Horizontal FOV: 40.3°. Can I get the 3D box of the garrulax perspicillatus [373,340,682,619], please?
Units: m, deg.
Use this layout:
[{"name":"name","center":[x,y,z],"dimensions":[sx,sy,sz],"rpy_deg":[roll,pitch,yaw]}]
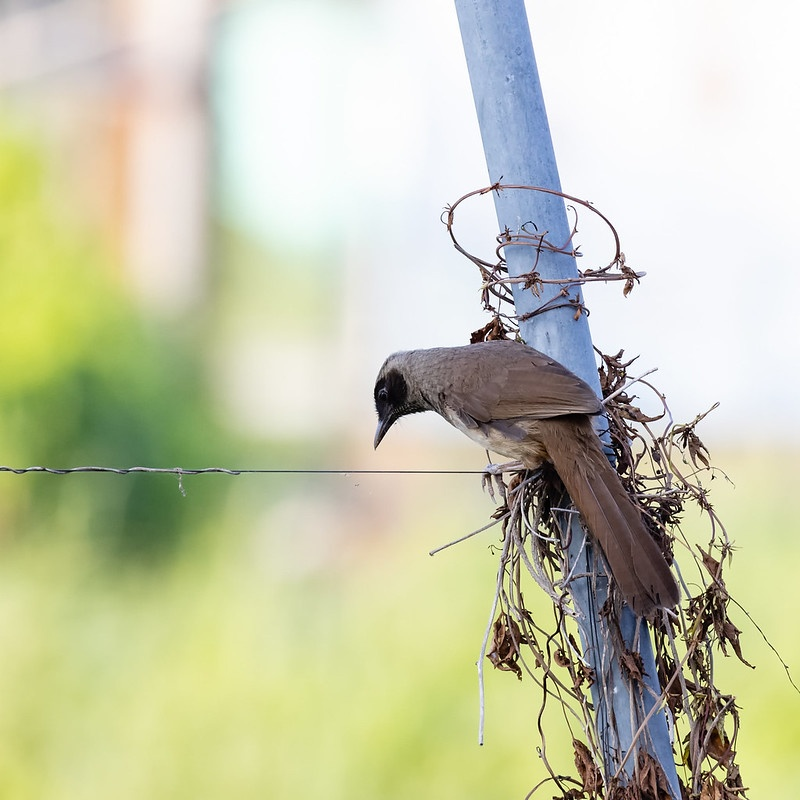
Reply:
[{"name":"garrulax perspicillatus","center":[0.502,0.167,4.246],"dimensions":[1.486,0.372,0.737],"rpy_deg":[17,-70,35]}]
